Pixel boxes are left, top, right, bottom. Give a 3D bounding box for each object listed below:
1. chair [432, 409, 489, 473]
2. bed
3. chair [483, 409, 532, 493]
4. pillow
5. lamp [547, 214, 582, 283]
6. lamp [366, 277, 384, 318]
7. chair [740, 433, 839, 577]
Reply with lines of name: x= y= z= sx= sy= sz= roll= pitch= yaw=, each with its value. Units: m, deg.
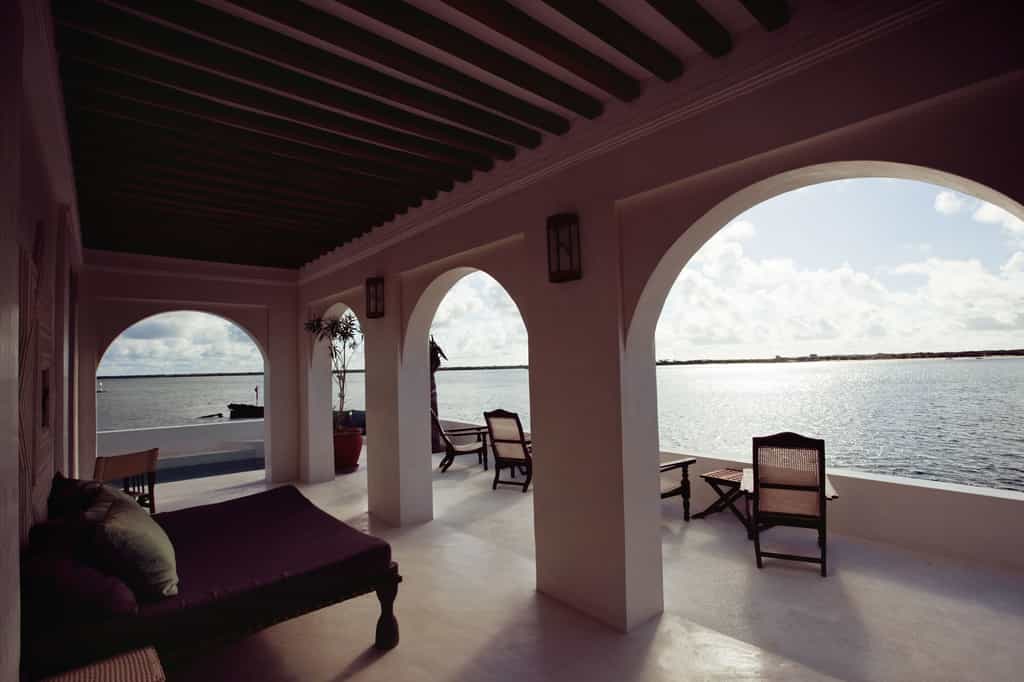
chair: x=-0.800 y=1.583 z=9.867 sx=0.863 sy=0.906 sz=0.693 roll=1 pitch=-3 yaw=-13
bed: x=-2.232 y=1.711 z=4.426 sx=1.462 sy=0.853 sz=1.450 roll=-2 pitch=2 yaw=-38
chair: x=0.074 y=1.477 z=8.750 sx=0.874 sy=1.067 sz=0.795 roll=-1 pitch=-3 yaw=-38
pillow: x=-2.791 y=1.412 z=4.342 sx=0.816 sy=0.633 sz=1.088 roll=-6 pitch=7 yaw=-31
lamp: x=0.437 y=-0.770 z=5.214 sx=0.283 sy=0.573 sz=0.176 roll=-1 pitch=6 yaw=10
lamp: x=-1.602 y=-0.502 z=7.376 sx=0.265 sy=0.499 sz=0.151 roll=3 pitch=7 yaw=38
chair: x=2.576 y=1.462 z=5.768 sx=0.670 sy=1.222 sz=0.432 roll=0 pitch=6 yaw=20
